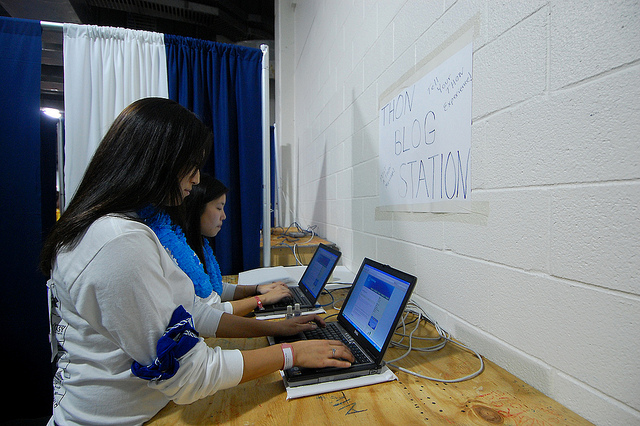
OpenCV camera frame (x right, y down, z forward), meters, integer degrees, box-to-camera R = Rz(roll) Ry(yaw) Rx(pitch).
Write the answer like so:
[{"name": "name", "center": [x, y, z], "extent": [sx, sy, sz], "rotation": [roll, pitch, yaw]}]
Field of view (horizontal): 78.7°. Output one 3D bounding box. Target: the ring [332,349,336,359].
[{"name": "ring", "center": [0.049, 0.484, 1.335], "extent": [0.005, 0.020, 0.021], "rotation": [4, -14, -5]}]

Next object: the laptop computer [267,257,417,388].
[{"name": "laptop computer", "center": [0.065, 0.376, 1.410], "extent": [0.421, 0.370, 0.346], "rotation": [-1, 11, -23]}]

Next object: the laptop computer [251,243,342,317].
[{"name": "laptop computer", "center": [-0.132, 0.302, 1.906], "extent": [0.387, 0.267, 0.413], "rotation": [-2, 3, -14]}]

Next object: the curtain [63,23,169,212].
[{"name": "curtain", "center": [-1.239, -0.594, 2.382], "extent": [0.578, 1.049, 0.292], "rotation": [-4, 13, -35]}]

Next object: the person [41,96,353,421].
[{"name": "person", "center": [-0.482, 0.167, 1.277], "extent": [0.771, 1.074, 0.452], "rotation": [-2, 12, -28]}]

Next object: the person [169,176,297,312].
[{"name": "person", "center": [-0.445, 0.140, 2.075], "extent": [0.542, 0.740, 0.725], "rotation": [-3, 8, -15]}]

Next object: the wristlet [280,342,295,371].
[{"name": "wristlet", "center": [-0.104, 0.487, 1.319], "extent": [0.024, 0.071, 0.069], "rotation": [1, -6, -19]}]

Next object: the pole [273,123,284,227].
[{"name": "pole", "center": [-0.454, -0.415, 4.368], "extent": [0.130, 1.178, 0.582], "rotation": [2, 11, -7]}]

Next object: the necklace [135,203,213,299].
[{"name": "necklace", "center": [-0.543, 0.164, 1.519], "extent": [0.104, 0.450, 0.367], "rotation": [5, 11, 11]}]
